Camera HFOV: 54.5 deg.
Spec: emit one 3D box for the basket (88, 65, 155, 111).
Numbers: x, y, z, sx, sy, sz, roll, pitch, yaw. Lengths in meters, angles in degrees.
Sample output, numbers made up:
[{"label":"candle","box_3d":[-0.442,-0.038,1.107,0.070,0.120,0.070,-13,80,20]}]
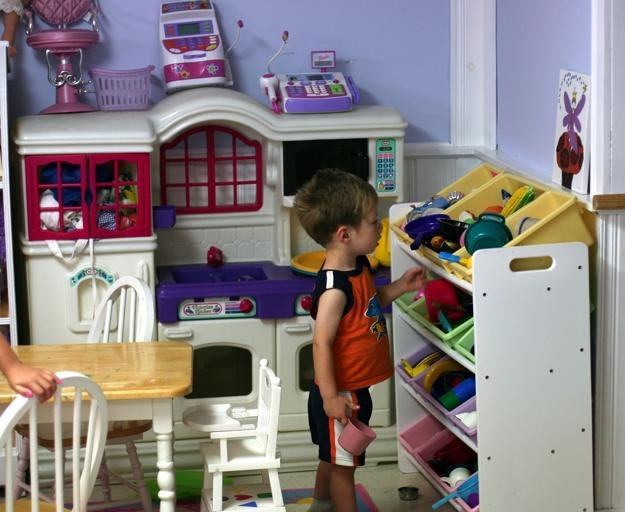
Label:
[{"label":"basket","box_3d":[-0.811,-0.716,2.604,0.216,0.166,0.187,-1,-3,-8]}]
